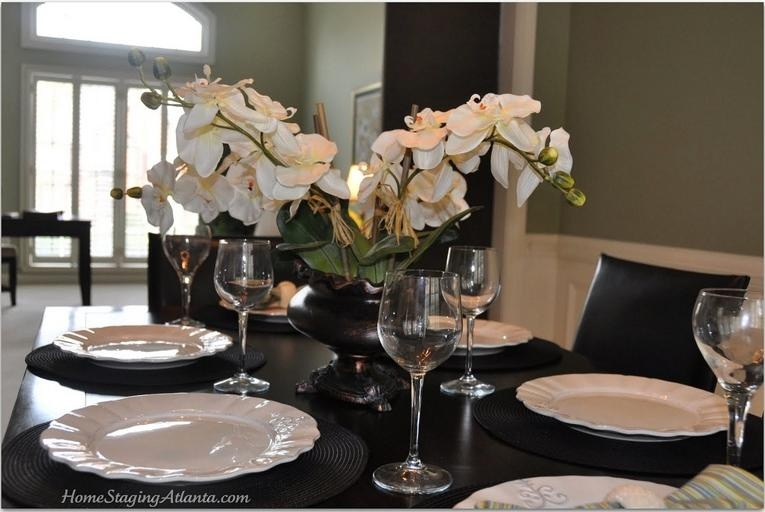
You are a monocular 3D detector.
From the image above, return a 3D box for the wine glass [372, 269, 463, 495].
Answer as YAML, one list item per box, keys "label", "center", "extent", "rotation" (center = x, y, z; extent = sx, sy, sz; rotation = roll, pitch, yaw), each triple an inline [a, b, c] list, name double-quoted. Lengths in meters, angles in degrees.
- label: "wine glass"
  center: [0.053, 0.191, 0.951]
  extent: [0.129, 0.328, 0.105]
  rotation: [2, 8, 8]

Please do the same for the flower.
- label: "flower"
  center: [-0.069, -0.165, 1.246]
  extent: [0.893, 0.435, 0.459]
  rotation: [2, 8, 8]

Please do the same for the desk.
- label: "desk"
  center: [-3.092, 0.055, 5.610]
  extent: [0.972, 0.706, 0.530]
  rotation: [0, -2, -8]

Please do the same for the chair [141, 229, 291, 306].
- label: "chair"
  center: [-0.665, 0.041, 2.401]
  extent: [0.449, 0.313, 0.225]
  rotation: [1, 14, -16]

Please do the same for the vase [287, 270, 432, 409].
- label: "vase"
  center: [-0.053, 0.168, 1.312]
  extent: [0.281, 0.259, 0.291]
  rotation: [4, 4, -20]

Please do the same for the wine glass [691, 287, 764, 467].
- label: "wine glass"
  center: [0.543, 0.190, 0.976]
  extent: [0.100, 0.262, 0.069]
  rotation: [5, 9, 27]
